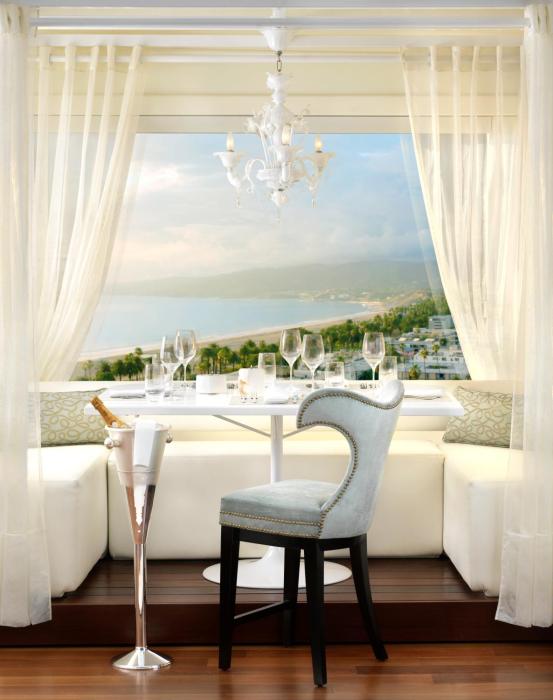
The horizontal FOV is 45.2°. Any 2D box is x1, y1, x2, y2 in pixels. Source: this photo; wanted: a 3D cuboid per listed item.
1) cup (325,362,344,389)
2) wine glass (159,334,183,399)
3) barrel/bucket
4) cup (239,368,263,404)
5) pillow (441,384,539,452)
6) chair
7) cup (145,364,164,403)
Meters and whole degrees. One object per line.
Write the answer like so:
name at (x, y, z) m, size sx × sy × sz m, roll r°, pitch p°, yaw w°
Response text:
cup at (0.235, 0.095, 2.547) m, size 0.093 × 0.145 × 0.102 m, roll 0°, pitch 2°, yaw 0°
wine glass at (-0.403, 0.071, 2.486) m, size 0.110 × 0.273 × 0.099 m, roll 4°, pitch 15°, yaw 7°
barrel/bucket at (-0.417, 0.322, 2.050) m, size 0.186 × 0.168 × 0.177 m, roll 0°, pitch -11°, yaw 0°
cup at (-0.093, 0.118, 2.323) m, size 0.103 × 0.134 × 0.101 m, roll 0°, pitch 2°, yaw 0°
pillow at (0.928, 0.258, 3.125) m, size 0.401 × 0.348 × 0.119 m, roll 0°, pitch -28°, yaw 35°
chair at (0.119, 0.537, 2.023) m, size 0.513 × 0.804 × 0.494 m, roll -3°, pitch -10°, yaw 21°
cup at (-0.441, 0.113, 2.394) m, size 0.065 × 0.133 × 0.093 m, roll -3°, pitch 3°, yaw -10°
